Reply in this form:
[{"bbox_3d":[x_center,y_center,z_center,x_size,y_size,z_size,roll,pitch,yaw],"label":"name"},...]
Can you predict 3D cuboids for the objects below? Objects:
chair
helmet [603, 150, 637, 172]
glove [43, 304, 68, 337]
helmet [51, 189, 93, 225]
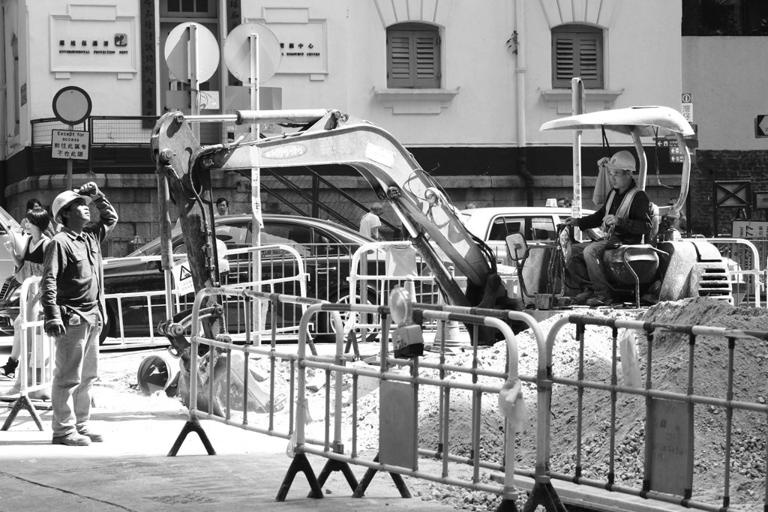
[{"bbox_3d":[3.447,-0.108,29.061,1.312,1.527,0.855,-7,-13,-19],"label":"chair"},{"bbox_3d":[3.723,-1.447,28.824,0.393,0.213,0.299,13,0,-8],"label":"helmet"},{"bbox_3d":[-4.785,0.953,26.490,0.219,0.324,0.438,-7,27,-10],"label":"glove"},{"bbox_3d":[-4.703,-0.668,27.043,0.558,0.289,0.421,-30,-1,29],"label":"helmet"}]
